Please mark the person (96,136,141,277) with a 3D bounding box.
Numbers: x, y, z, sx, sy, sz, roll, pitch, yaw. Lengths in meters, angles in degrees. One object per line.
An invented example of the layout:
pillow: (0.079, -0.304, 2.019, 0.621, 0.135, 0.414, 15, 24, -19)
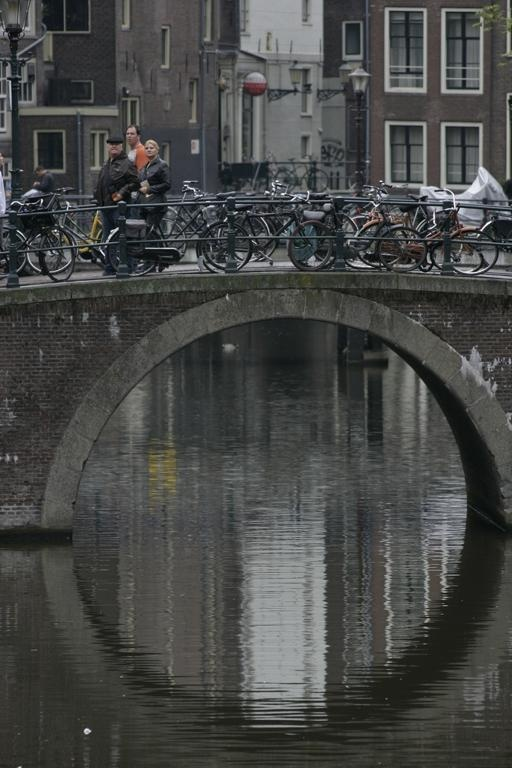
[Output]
person: (-1.525, -2.074, 29.735, 0.505, 1.562, 0.877, -1, 9, -4)
